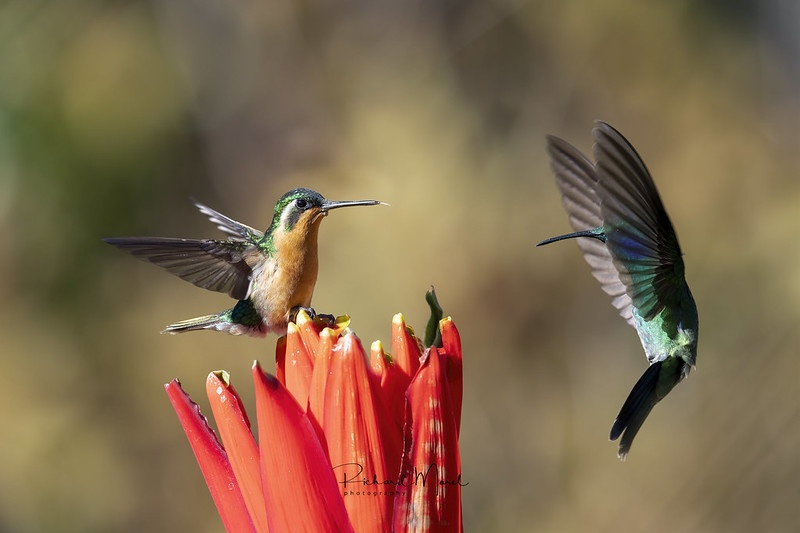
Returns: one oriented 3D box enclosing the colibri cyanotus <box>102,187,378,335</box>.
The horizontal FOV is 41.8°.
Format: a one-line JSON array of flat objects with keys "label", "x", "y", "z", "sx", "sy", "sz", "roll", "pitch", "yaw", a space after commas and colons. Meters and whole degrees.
[{"label": "colibri cyanotus", "x": -0.296, "y": 0.009, "z": 1.960, "sx": 0.395, "sy": 0.238, "sz": 0.362, "roll": -9, "pitch": -2, "yaw": 15}]
